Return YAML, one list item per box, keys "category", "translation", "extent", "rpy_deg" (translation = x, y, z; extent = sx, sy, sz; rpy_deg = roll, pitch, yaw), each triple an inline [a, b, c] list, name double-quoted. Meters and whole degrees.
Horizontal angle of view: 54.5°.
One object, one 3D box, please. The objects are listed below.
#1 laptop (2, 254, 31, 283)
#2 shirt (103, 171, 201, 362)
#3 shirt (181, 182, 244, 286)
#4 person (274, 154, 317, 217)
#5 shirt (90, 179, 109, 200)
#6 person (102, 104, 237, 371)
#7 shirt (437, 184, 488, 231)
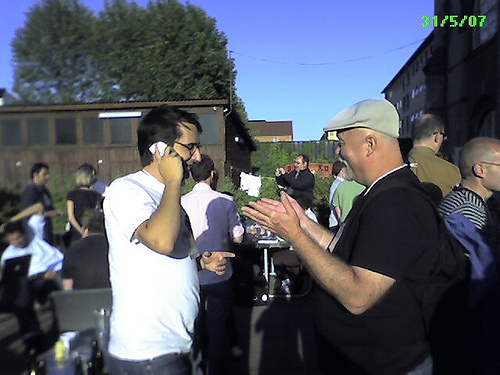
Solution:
- category: "laptop"
  translation: [-2.780, 0.967, 5.790]
  extent: [0.338, 0.218, 0.226]
  rpy_deg: [-4, 9, -37]
- category: "shirt"
  translation: [-0.736, 0.580, 3.862]
  extent: [0.615, 1.443, 1.150]
  rpy_deg: [-1, -5, 4]
- category: "shirt"
  translation: [-0.418, 0.429, 5.924]
  extent: [0.764, 1.125, 0.653]
  rpy_deg: [10, 23, 21]
- category: "person"
  translation: [0.951, 0.249, 9.933]
  extent: [0.558, 1.897, 0.588]
  rpy_deg: [-12, 24, -22]
- category: "shirt"
  translation: [-2.558, 0.028, 8.141]
  extent: [0.208, 0.298, 0.215]
  rpy_deg: [8, 29, 31]
- category: "person"
  translation: [-0.705, 0.378, 3.630]
  extent: [0.763, 1.965, 0.626]
  rpy_deg: [-1, 6, -20]
- category: "shirt"
  translation: [1.805, 0.178, 4.098]
  extent: [0.255, 0.286, 0.154]
  rpy_deg: [21, 2, 30]
